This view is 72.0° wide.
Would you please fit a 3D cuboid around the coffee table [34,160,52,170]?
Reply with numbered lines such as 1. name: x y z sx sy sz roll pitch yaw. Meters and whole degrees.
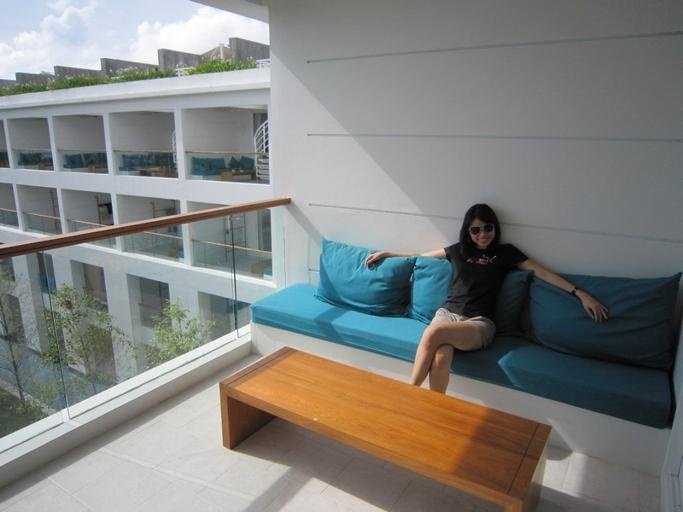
1. coffee table: -8.612 -2.642 13.534 0.419 0.234 0.315 5 25 8

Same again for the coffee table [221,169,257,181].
1. coffee table: -2.035 -1.587 9.185 0.837 0.212 0.184 10 20 38

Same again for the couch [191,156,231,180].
1. couch: -2.687 -1.810 9.532 1.014 0.453 0.214 9 19 34

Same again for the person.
1. person: 0.955 0.435 3.472 1.775 1.524 0.881 10 7 15

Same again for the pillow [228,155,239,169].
1. pillow: -2.125 -1.856 9.226 0.233 0.236 0.056 22 13 7

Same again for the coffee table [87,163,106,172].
1. coffee table: -6.290 -2.258 12.031 0.246 0.202 0.973 -15 20 -39

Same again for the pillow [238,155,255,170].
1. pillow: -1.832 -1.795 9.035 0.319 0.302 0.097 4 7 30

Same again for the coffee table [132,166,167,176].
1. coffee table: -4.283 -1.914 10.608 1.379 0.215 0.118 12 21 42

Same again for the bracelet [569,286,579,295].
1. bracelet: 1.623 0.242 3.261 0.067 0.067 0.042 10 38 -45
